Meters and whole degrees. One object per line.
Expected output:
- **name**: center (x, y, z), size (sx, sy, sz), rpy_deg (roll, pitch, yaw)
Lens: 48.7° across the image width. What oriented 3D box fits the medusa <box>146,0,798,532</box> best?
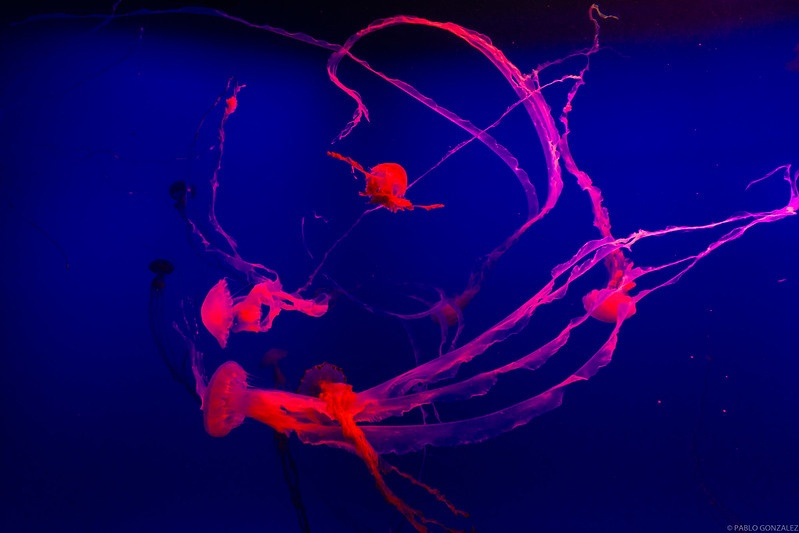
- **medusa**: center (0.251, -0.011, 4.770), size (2.885, 2.761, 0.807), rpy_deg (-1, 12, -10)
